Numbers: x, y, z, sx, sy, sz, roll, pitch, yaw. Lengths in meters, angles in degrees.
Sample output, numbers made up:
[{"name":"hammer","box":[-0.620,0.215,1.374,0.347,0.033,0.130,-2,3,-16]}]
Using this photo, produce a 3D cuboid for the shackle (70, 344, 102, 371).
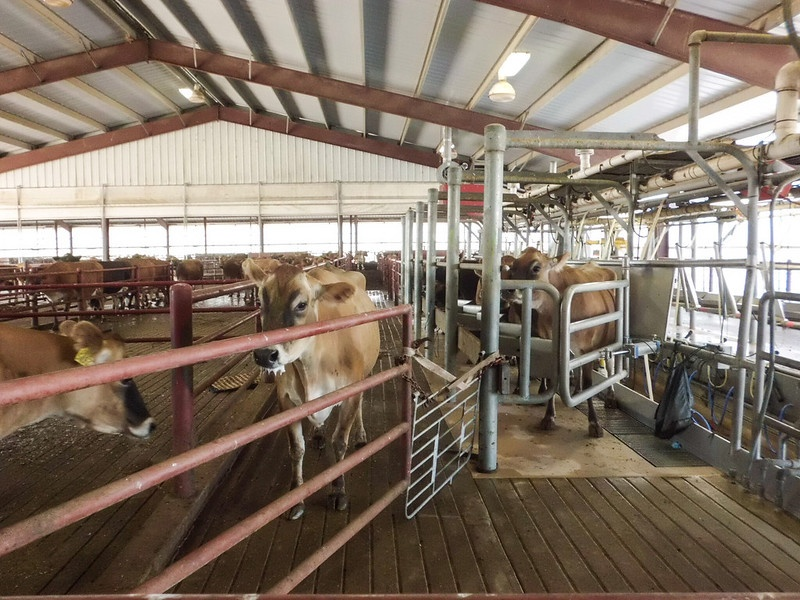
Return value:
[{"name":"shackle","box":[-1.834,0.340,3.149,0.098,0.102,0.167,-7,8,-39]}]

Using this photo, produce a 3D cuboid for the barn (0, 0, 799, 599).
[{"name":"barn","box":[-0.101,-0.725,6.474,6.279,1.373,5.684,-2,42,2]}]
